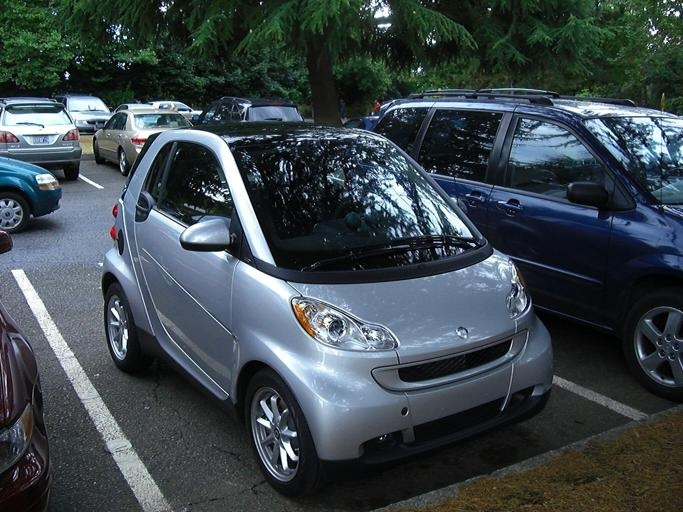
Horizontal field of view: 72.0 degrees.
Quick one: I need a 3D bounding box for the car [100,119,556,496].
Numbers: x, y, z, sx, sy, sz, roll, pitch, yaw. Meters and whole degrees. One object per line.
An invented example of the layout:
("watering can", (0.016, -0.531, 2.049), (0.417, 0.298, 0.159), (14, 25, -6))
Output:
("car", (-0.396, 0.166, 3.612), (2.134, 1.711, 3.295), (-11, 24, -40))
